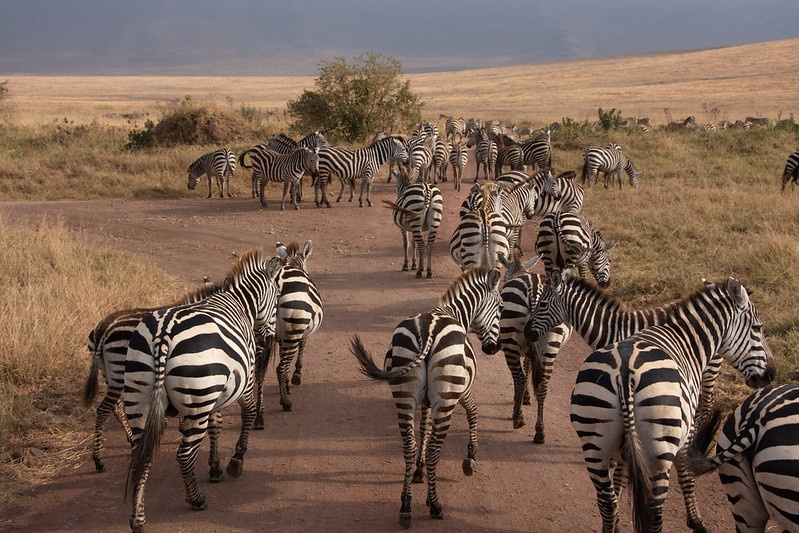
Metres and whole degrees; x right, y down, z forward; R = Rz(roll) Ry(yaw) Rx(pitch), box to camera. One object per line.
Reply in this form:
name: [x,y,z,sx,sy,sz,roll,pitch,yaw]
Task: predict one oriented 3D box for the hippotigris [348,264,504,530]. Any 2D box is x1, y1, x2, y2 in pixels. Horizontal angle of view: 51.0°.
hippotigris: [0.624,1.915,12.981,1.146,3.583,2.212,8,13,41]
